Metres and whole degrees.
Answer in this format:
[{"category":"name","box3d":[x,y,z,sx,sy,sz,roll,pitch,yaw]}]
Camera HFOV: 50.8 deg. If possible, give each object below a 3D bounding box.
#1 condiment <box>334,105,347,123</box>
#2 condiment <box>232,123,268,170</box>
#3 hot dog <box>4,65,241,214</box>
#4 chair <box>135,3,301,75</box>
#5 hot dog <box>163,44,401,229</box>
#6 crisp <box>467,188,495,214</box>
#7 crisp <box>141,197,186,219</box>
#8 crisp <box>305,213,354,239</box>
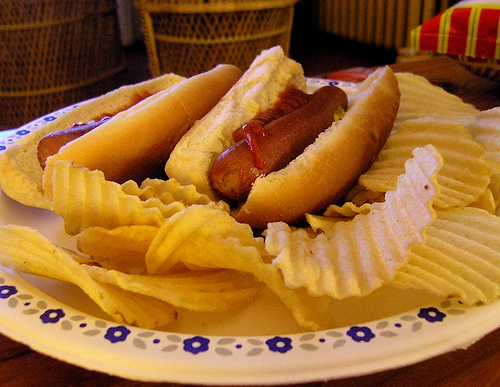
[{"category":"condiment","box3d":[0.269,-0.231,1.557,0.032,0.013,0.057,21,64,-13]},{"category":"condiment","box3d":[0.008,-0.143,1.454,0.059,0.084,0.200,-11,38,-18]},{"category":"hot dog","box3d":[-0.317,-0.092,1.724,0.405,0.241,0.803,2,34,43]},{"category":"chair","box3d":[-0.171,-0.879,2.943,0.778,0.562,0.698,-3,26,-1]},{"category":"hot dog","box3d":[0.133,-0.188,1.521,0.488,0.265,0.647,17,52,36]},{"category":"crisp","box3d":[0.611,0.021,1.388,0.020,0.068,0.066,0,10,-28]},{"category":"crisp","box3d":[-0.211,0.033,1.289,0.065,0.020,0.067,10,0,29]},{"category":"crisp","box3d":[0.189,0.079,1.364,0.075,0.031,0.074,-13,7,-28]}]
